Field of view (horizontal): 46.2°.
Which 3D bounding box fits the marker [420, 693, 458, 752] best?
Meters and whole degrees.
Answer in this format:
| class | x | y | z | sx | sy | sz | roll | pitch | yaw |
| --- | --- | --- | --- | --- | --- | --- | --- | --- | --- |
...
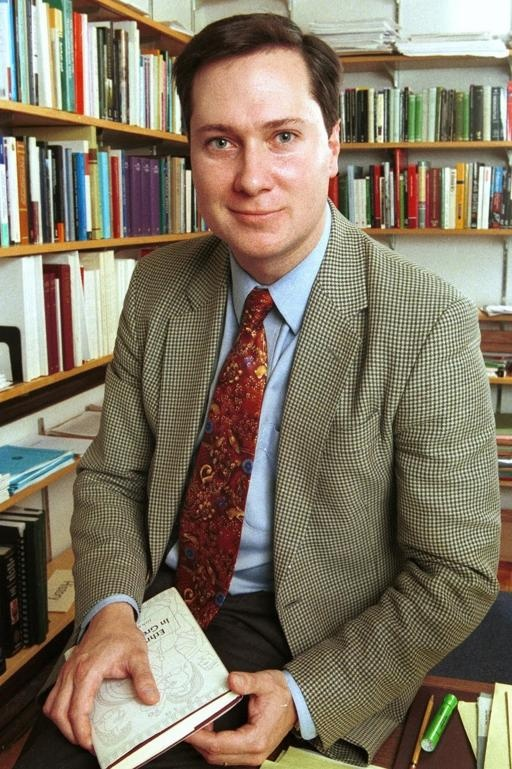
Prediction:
| class | x | y | z | sx | sy | sz | roll | pitch | yaw |
| --- | --- | --- | --- | --- | --- | --- | --- | --- | --- |
| marker | 0.241 | 0.432 | 0.781 | 0.025 | 0.023 | 0.086 | 1 | 29 | 36 |
